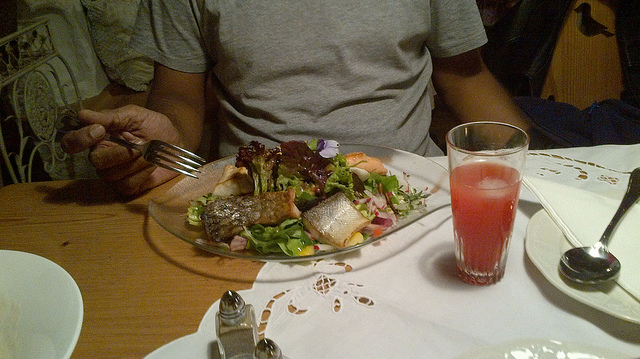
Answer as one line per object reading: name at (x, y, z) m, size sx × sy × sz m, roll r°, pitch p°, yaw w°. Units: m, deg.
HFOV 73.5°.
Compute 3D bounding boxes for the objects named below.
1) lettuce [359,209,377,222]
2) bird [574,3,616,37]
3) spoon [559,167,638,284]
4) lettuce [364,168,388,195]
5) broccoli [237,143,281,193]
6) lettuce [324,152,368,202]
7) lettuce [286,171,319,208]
lettuce at (0.180, 0.145, 1.660) m, size 0.043 × 0.014 × 0.043 m, roll -21°, pitch 51°, yaw -6°
bird at (1.732, -1.024, 2.778) m, size 0.304 × 0.228 × 0.148 m, roll 3°, pitch 12°, yaw 10°
spoon at (0.970, 0.147, 1.478) m, size 0.149 × 0.069 × 0.625 m, roll 15°, pitch 44°, yaw 40°
lettuce at (0.219, 0.012, 1.724) m, size 0.091 × 0.084 × 0.036 m, roll -1°, pitch 20°, yaw -11°
broccoli at (-0.228, -0.043, 1.854) m, size 0.211 × 0.197 × 0.206 m, roll 0°, pitch 81°, yaw -2°
lettuce at (0.107, -0.021, 1.655) m, size 0.160 × 0.057 × 0.147 m, roll -2°, pitch 85°, yaw -29°
lettuce at (-0.038, 0.043, 1.715) m, size 0.113 × 0.053 × 0.140 m, roll -21°, pitch 34°, yaw 12°
